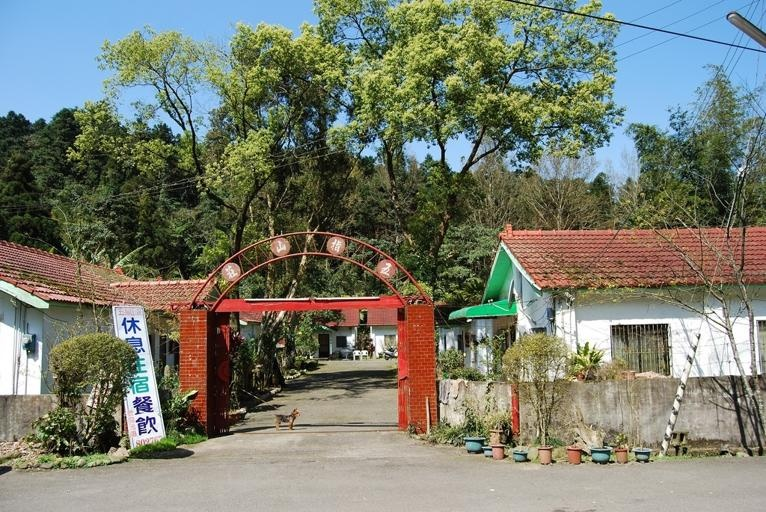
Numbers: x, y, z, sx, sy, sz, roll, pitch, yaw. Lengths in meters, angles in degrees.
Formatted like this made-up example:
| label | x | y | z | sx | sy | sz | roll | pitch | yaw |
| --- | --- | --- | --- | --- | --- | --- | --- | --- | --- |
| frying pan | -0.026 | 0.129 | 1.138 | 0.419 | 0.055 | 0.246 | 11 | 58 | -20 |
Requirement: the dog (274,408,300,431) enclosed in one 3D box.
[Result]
| label | x | y | z | sx | sy | sz | roll | pitch | yaw |
| --- | --- | --- | --- | --- | --- | --- | --- | --- | --- |
| dog | -3.485 | 5.939 | 29.010 | 0.758 | 0.764 | 1.864 | 0 | -15 | -8 |

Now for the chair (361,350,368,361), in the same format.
| label | x | y | z | sx | sy | sz | roll | pitch | yaw |
| --- | --- | --- | --- | --- | --- | --- | --- | --- | --- |
| chair | -1.618 | 8.659 | 70.700 | 0.516 | 0.885 | 0.658 | 0 | -16 | -3 |

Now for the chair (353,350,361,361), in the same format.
| label | x | y | z | sx | sy | sz | roll | pitch | yaw |
| --- | --- | --- | --- | --- | --- | --- | --- | --- | --- |
| chair | -2.264 | 8.668 | 70.482 | 0.579 | 0.862 | 0.606 | -6 | -9 | 20 |
